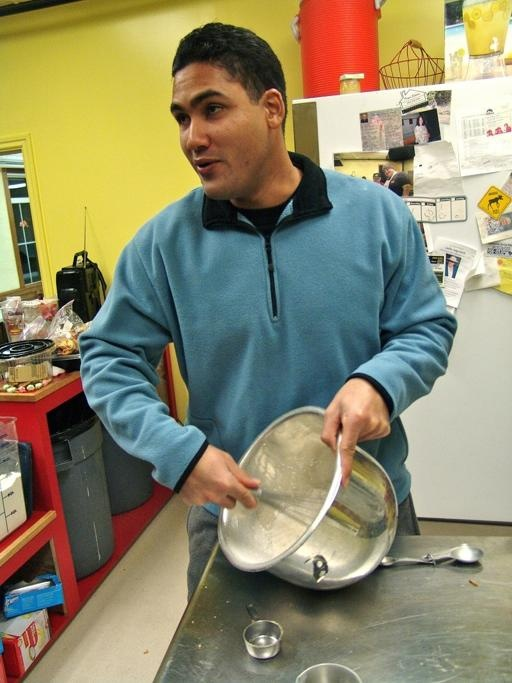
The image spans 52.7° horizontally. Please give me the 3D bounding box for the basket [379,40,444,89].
[{"bbox_3d":[0.754,-1.292,2.373,0.217,0.169,0.219,-28,25,1],"label":"basket"}]

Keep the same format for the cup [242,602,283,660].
[{"bbox_3d":[0.002,0.342,0.623,0.038,0.021,0.087,-8,10,-15],"label":"cup"}]
